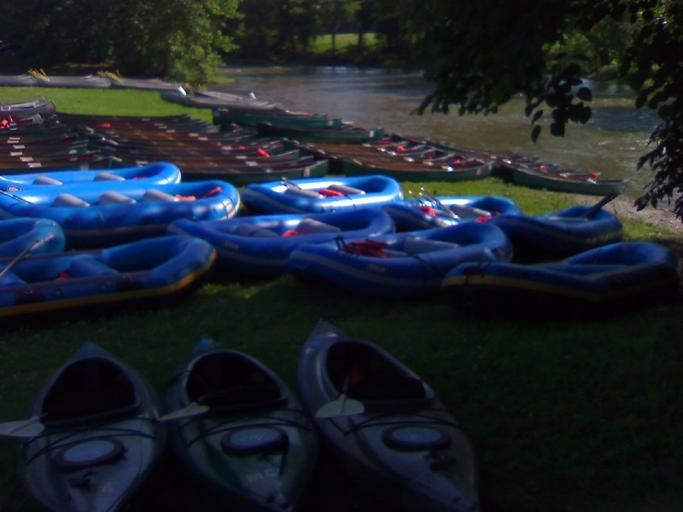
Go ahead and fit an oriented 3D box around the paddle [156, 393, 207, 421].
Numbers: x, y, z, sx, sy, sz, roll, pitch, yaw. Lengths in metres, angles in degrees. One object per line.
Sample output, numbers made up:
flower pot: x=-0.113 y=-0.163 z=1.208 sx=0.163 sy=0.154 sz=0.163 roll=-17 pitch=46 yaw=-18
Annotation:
paddle: x=-1.364 y=1.395 z=6.459 sx=0.553 sy=0.146 sz=0.175 roll=-8 pitch=28 yaw=-30
